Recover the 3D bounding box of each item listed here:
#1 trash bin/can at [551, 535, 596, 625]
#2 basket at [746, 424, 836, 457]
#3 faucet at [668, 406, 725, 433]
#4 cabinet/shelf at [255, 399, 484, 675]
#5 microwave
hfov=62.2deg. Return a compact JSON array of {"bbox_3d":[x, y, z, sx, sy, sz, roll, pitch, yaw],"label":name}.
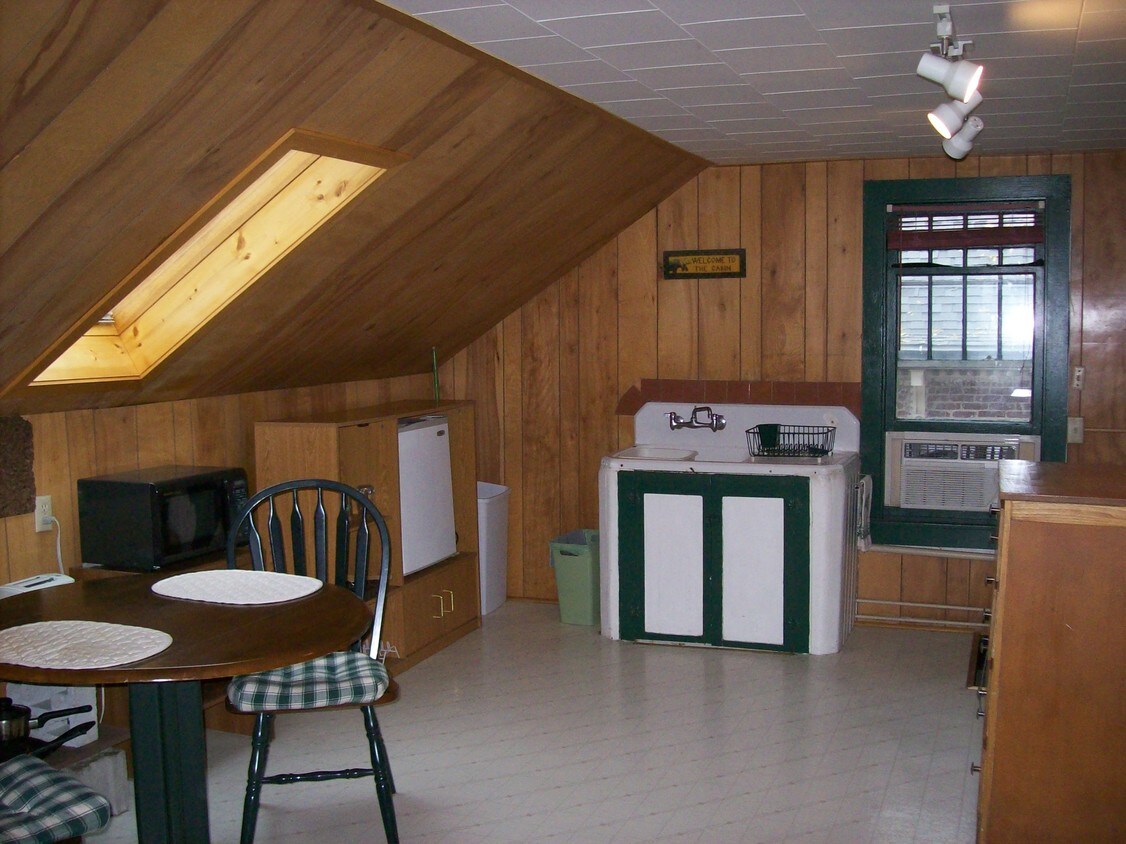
[{"bbox_3d":[0.060,0.894,5.162,0.258,0.444,0.170,-1,8,2],"label":"trash bin/can"},{"bbox_3d":[1.230,0.081,5.067,0.465,0.162,0.418,1,8,15],"label":"basket"},{"bbox_3d":[0.773,-0.012,5.484,0.360,0.156,0.122,0,2,16],"label":"faucet"},{"bbox_3d":[-0.843,0.475,3.974,0.493,1.166,1.349,0,4,18],"label":"cabinet/shelf"},{"bbox_3d":[-1.620,0.293,3.708,0.413,0.320,0.538,3,6,18],"label":"microwave"}]
